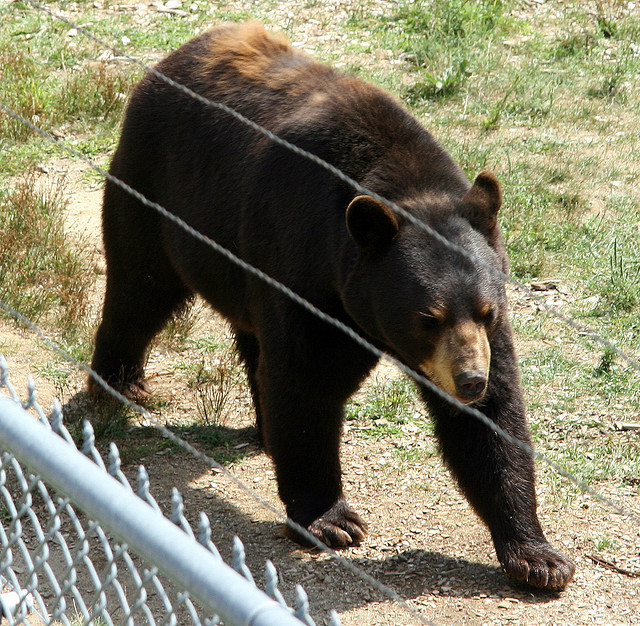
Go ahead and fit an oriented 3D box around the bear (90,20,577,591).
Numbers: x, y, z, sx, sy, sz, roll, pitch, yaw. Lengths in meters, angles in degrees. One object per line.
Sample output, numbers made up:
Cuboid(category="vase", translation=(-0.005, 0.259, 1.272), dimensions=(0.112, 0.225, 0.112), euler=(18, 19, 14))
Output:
Cuboid(category="bear", translation=(-0.003, -0.122, 4.851), dimensions=(1.051, 2.093, 2.740), euler=(-17, 30, -32))
